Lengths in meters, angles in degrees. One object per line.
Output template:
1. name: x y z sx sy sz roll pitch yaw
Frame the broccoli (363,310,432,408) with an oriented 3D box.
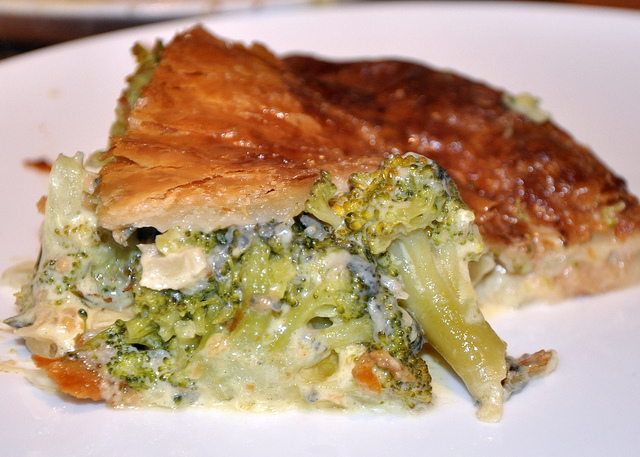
1. broccoli: 0.267 0.422 2.129 0.204 0.070 0.305 -36 84 -18

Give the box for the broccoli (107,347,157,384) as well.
1. broccoli: -0.597 0.438 2.138 0.167 0.040 0.103 9 56 -3

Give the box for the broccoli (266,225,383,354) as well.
1. broccoli: 0.031 0.213 2.160 0.324 0.198 0.389 11 56 -2
